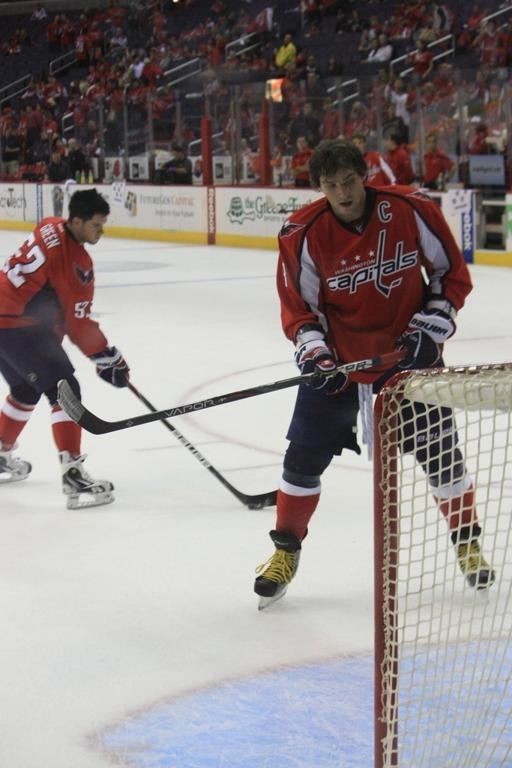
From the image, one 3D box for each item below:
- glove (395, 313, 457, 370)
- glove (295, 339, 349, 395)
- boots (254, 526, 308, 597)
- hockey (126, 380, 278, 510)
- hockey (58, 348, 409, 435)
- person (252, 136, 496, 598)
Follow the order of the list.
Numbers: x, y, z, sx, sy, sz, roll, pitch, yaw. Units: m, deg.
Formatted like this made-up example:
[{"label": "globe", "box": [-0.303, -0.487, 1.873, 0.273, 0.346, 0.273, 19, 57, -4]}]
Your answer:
[{"label": "glove", "box": [0.424, -0.116, 2.028, 0.188, 0.110, 0.072, -35, 7, -4]}, {"label": "glove", "box": [0.160, -0.044, 2.011, 0.101, 0.059, 0.151, -12, 36, -4]}, {"label": "boots", "box": [0.094, 0.486, 2.187, 0.097, 0.119, 0.221, 6, 20, 19]}, {"label": "hockey", "box": [-0.174, 0.263, 3.167, 0.307, 0.068, 0.923, -29, 29, -29]}, {"label": "hockey", "box": [-0.155, 0.006, 2.633, 0.063, 0.254, 1.215, -18, -2, 39]}, {"label": "person", "box": [0.270, -0.009, 2.074, 0.632, 1.198, 0.368, -4, 9, -1]}]
